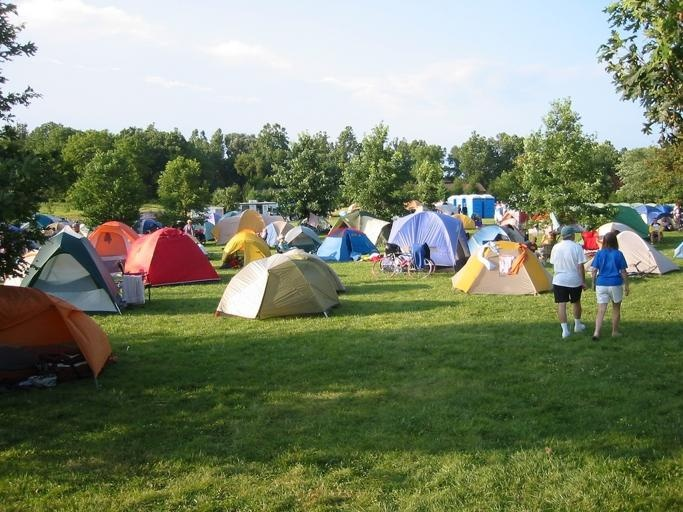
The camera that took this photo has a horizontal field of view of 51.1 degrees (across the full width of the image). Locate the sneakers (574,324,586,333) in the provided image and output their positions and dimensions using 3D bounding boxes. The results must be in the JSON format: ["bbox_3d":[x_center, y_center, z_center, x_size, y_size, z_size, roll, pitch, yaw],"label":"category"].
[{"bbox_3d":[5.028,1.513,14.966,0.270,0.199,0.105,-12,14,-32],"label":"sneakers"}]

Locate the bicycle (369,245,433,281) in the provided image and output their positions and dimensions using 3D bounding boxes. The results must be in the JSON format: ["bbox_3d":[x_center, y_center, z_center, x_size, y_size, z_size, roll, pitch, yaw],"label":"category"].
[{"bbox_3d":[2.012,0.180,24.078,1.924,1.279,1.007,-1,-3,15],"label":"bicycle"}]

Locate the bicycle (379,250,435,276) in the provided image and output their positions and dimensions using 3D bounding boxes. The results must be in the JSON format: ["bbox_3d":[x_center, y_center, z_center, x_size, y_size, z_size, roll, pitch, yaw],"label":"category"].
[{"bbox_3d":[2.153,0.199,23.907,1.502,1.015,0.804,0,5,17],"label":"bicycle"}]

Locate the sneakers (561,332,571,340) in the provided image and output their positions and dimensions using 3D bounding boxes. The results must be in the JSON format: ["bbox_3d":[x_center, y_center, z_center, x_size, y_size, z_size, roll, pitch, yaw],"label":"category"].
[{"bbox_3d":[4.614,1.623,14.688,0.144,0.089,0.218,2,16,17],"label":"sneakers"}]
